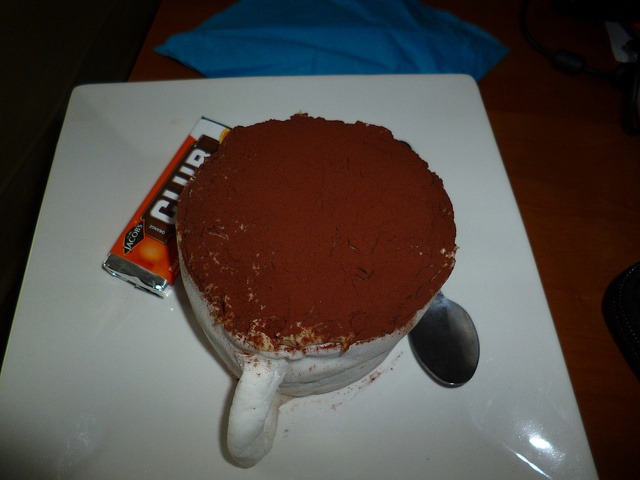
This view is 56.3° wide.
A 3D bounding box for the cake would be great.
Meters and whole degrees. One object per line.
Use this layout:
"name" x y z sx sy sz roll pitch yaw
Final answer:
"cake" -0.036 0.024 1.133 0.553 0.253 0.489 -32 76 -15
